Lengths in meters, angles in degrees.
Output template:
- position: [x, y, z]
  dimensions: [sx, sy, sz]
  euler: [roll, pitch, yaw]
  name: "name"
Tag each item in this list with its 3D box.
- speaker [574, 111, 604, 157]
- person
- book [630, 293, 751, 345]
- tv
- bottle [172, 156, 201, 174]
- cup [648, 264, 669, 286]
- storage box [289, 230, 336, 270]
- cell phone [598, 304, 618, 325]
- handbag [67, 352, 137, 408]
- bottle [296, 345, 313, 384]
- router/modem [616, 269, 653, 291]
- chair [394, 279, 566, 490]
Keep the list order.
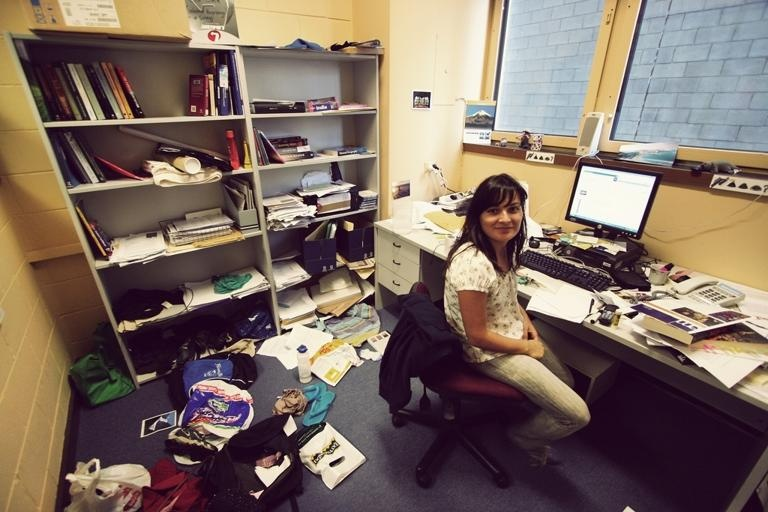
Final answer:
- position: [1.510, -0.891, 3.675]
  dimensions: [0.138, 0.295, 0.194]
  euler: [9, 28, 14]
  name: "speaker"
- position: [0.747, 0.398, 2.959]
  dimensions: [0.551, 1.601, 0.827]
  euler: [-13, 31, -25]
  name: "person"
- position: [1.740, 0.345, 2.851]
  dimensions: [0.351, 0.080, 0.329]
  euler: [-15, 25, -30]
  name: "book"
- position: [1.590, -0.352, 3.411]
  dimensions: [0.119, 0.429, 0.514]
  euler: [-22, 36, -39]
  name: "tv"
- position: [-1.363, -0.624, 3.423]
  dimensions: [0.214, 0.113, 0.124]
  euler: [12, 29, 20]
  name: "bottle"
- position: [1.751, 0.122, 3.248]
  dimensions: [0.114, 0.102, 0.137]
  euler: [-7, 23, -15]
  name: "cup"
- position: [-0.566, -0.052, 4.129]
  dimensions: [0.408, 0.372, 0.291]
  euler: [-4, 16, -9]
  name: "storage box"
- position: [1.322, 0.335, 2.978]
  dimensions: [0.086, 0.045, 0.147]
  euler: [0, 25, 34]
  name: "cell phone"
- position: [-1.996, 0.862, 3.551]
  dimensions: [0.325, 0.313, 0.250]
  euler: [-21, 35, -37]
  name: "handbag"
- position: [-0.578, 0.777, 3.627]
  dimensions: [0.097, 0.290, 0.097]
  euler: [1, 28, 0]
  name: "bottle"
- position: [1.587, 0.157, 3.205]
  dimensions: [0.159, 0.067, 0.211]
  euler: [-10, 29, -22]
  name: "router/modem"
- position: [0.504, 0.773, 3.249]
  dimensions: [0.915, 1.034, 0.923]
  euler: [-8, 19, -41]
  name: "chair"
